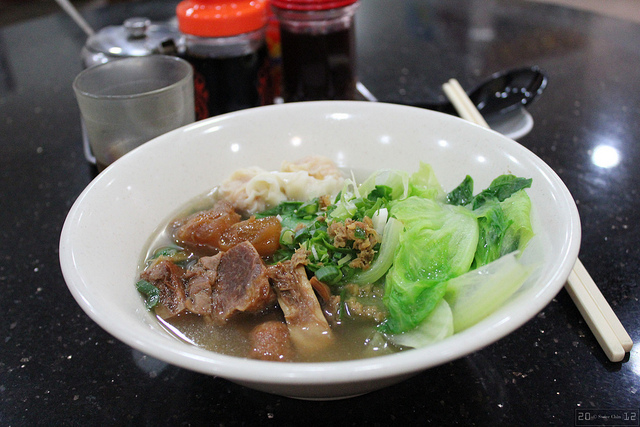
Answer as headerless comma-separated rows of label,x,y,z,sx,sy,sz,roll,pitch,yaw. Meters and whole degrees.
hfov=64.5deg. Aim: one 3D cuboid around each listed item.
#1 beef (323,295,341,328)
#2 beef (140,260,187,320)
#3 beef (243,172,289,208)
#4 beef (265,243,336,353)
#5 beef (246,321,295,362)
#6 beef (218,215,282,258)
beef,0.042,0.322,1.711,0.066,0.022,0.088,-16,71,20
beef,-0.510,0.257,1.725,0.144,0.068,0.200,-26,58,-14
beef,-0.234,-0.108,2.108,0.208,0.130,0.099,-12,15,-43
beef,-0.063,0.282,1.677,0.166,0.086,0.322,-13,63,-11
beef,-0.150,0.389,1.633,0.136,0.089,0.200,-4,14,-14
beef,-0.265,0.079,1.892,0.260,0.088,0.197,-6,37,12
